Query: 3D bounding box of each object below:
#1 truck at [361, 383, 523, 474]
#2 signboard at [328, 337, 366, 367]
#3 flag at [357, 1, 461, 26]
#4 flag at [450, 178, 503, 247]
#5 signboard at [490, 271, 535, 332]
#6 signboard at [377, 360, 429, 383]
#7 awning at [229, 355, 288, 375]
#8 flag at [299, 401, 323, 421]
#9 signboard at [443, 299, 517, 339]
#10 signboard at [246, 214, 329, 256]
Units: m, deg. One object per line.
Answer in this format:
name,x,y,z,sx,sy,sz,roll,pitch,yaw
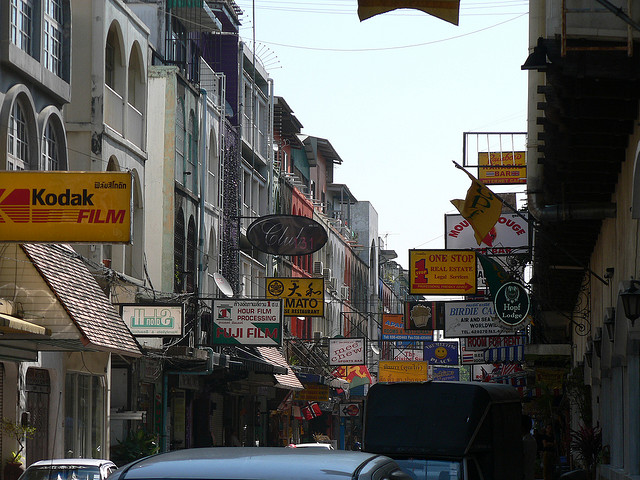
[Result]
truck,2.671,4.123,38.357,3.481,2.253,2.153,-3,-14,4
signboard,1.001,3.984,62.821,0.911,0.779,0.064,-1,-5,4
flag,1.744,-4.416,33.762,1.928,0.554,0.313,0,-13,-8
flag,4.072,-0.815,44.413,1.263,1.973,0.285,4,30,13
signboard,5.446,1.703,49.057,1.148,1.974,0.195,-1,-34,11
signboard,3.506,5.380,72.463,2.016,1.115,2.004,-3,-15,4
awning,-2.128,4.161,58.426,0.376,0.616,3.953,-4,-10,17
flag,-0.327,7.235,75.159,0.926,1.064,0.255,-21,1,23
signboard,4.645,2.220,50.124,1.417,0.933,0.029,-3,-3,15
signboard,-1.137,-0.176,54.187,1.599,1.060,0.063,1,9,4
